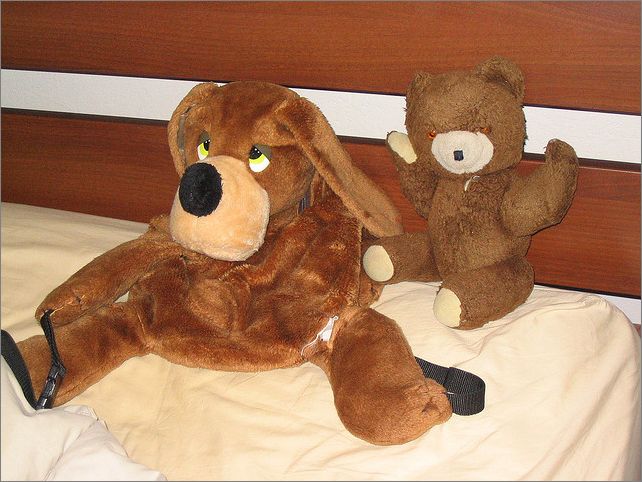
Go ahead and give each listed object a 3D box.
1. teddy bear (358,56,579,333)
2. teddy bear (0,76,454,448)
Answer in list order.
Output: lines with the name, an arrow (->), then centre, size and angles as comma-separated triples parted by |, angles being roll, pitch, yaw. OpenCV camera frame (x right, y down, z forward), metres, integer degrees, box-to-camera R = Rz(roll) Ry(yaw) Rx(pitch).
teddy bear -> 0.339, -0.121, 1.485 | 0.519, 0.600, 0.394 | 14, 24, 43
teddy bear -> -0.136, 0.059, 1.600 | 1.098, 0.714, 0.799 | 4, 28, 10
